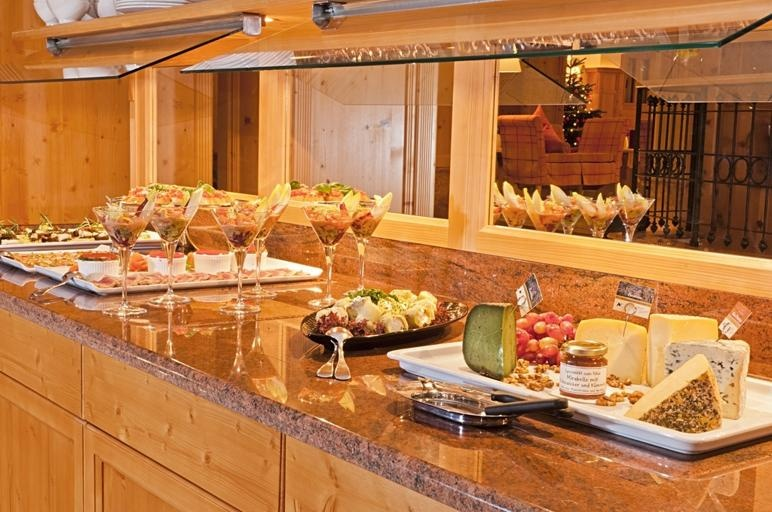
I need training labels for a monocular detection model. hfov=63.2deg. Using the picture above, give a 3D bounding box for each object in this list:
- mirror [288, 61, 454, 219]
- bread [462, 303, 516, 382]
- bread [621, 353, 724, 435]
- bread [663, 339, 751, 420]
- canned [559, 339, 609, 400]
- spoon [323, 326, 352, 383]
[{"bbox_3d":[-0.031,-0.440,2.389,0.723,0.563,0.227,6,9,33],"label":"mirror"},{"bbox_3d":[0.247,0.197,1.477,0.125,0.164,0.100,2,7,10],"label":"bread"},{"bbox_3d":[0.569,0.282,1.265,0.155,0.177,0.047,-15,3,-2],"label":"bread"},{"bbox_3d":[0.648,0.251,1.261,0.092,0.125,0.162,-6,7,-43],"label":"bread"},{"bbox_3d":[0.417,0.248,1.382,0.130,0.111,0.117,0,1,-6],"label":"canned"},{"bbox_3d":[-0.123,0.248,1.574,0.060,0.018,0.199,3,18,-4],"label":"spoon"}]
